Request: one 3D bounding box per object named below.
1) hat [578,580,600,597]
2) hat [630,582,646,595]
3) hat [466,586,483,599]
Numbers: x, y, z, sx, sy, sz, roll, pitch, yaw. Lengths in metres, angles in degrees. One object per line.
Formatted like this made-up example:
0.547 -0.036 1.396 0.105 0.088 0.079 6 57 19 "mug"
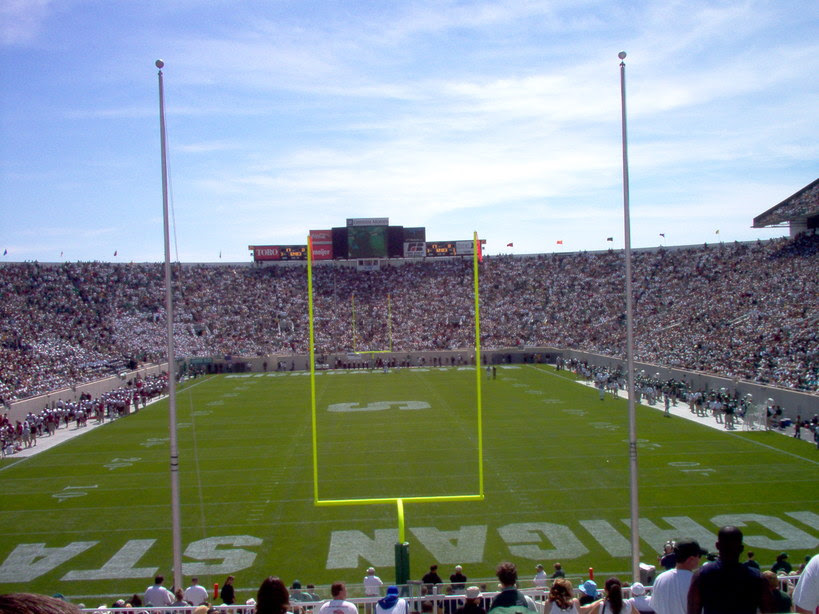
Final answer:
2.269 3.558 12.360 0.198 0.281 0.346 -1 3 5 "hat"
2.896 3.603 12.444 0.166 0.188 0.303 0 3 10 "hat"
0.795 3.496 11.935 0.169 0.075 0.166 -9 14 -30 "hat"
